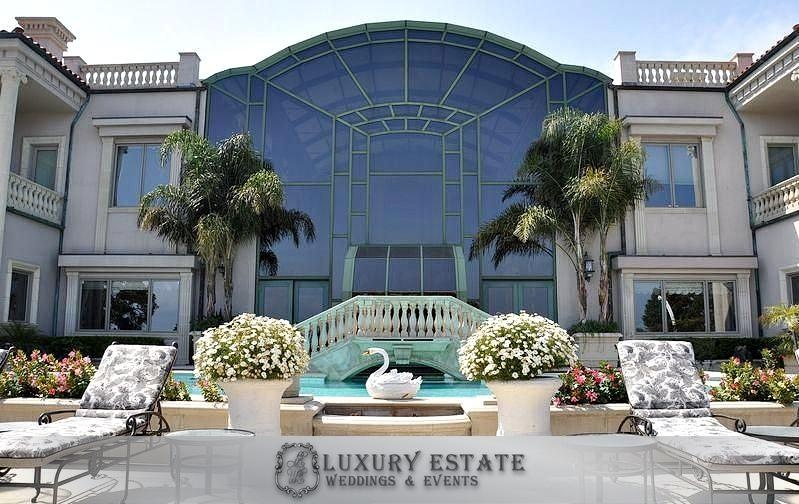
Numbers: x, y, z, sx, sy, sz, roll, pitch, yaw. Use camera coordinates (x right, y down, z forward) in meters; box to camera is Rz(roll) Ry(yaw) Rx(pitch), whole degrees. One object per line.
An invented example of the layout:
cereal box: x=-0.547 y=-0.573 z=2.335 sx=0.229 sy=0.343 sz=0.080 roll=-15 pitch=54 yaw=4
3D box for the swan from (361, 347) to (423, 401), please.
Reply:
swan: x=-0.119 y=2.263 z=11.542 sx=0.965 sy=0.933 sz=0.363 roll=0 pitch=-12 yaw=2

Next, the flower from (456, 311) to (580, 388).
flower: x=1.925 y=1.564 z=10.264 sx=1.830 sy=1.187 sz=0.591 roll=-1 pitch=-12 yaw=6

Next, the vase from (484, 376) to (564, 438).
vase: x=2.026 y=2.487 z=10.048 sx=1.108 sy=0.945 sz=0.350 roll=-1 pitch=-12 yaw=8

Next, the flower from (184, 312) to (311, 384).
flower: x=-2.455 y=1.593 z=10.286 sx=1.799 sy=1.141 sz=0.639 roll=3 pitch=-12 yaw=-14
